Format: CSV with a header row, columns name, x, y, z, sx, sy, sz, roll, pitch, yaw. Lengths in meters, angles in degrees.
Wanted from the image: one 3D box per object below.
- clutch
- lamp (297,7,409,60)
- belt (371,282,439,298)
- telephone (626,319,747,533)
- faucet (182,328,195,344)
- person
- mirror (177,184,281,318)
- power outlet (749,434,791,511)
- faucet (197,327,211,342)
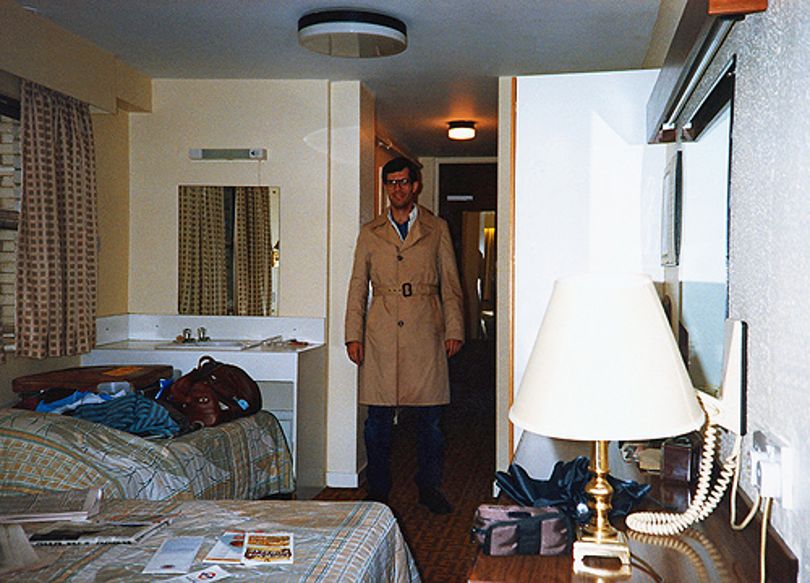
name,x,y,z,sx,sy,sz,roll,pitch,yaw
clutch,0.279,0.575,1.535,0.155,0.069,0.121,-1,-5,1
lamp,-0.283,-1.385,3.390,0.586,0.192,0.375,-5,5,3
belt,0.005,-0.002,3.884,0.415,0.108,0.163,-5,5,0
telephone,0.725,0.365,1.611,0.164,0.161,0.514,-6,26,25
faucet,-1.518,0.302,4.384,0.061,0.117,0.117,7,-19,-24
person,-0.003,0.267,3.891,0.725,2.126,0.379,-4,5,5
mirror,-1.218,-0.309,4.459,0.875,1.252,0.063,1,3,5
power outlet,0.838,0.411,1.439,0.038,0.132,0.201,2,-4,21
faucet,-1.436,0.306,4.447,0.082,0.101,0.103,-2,-2,7
